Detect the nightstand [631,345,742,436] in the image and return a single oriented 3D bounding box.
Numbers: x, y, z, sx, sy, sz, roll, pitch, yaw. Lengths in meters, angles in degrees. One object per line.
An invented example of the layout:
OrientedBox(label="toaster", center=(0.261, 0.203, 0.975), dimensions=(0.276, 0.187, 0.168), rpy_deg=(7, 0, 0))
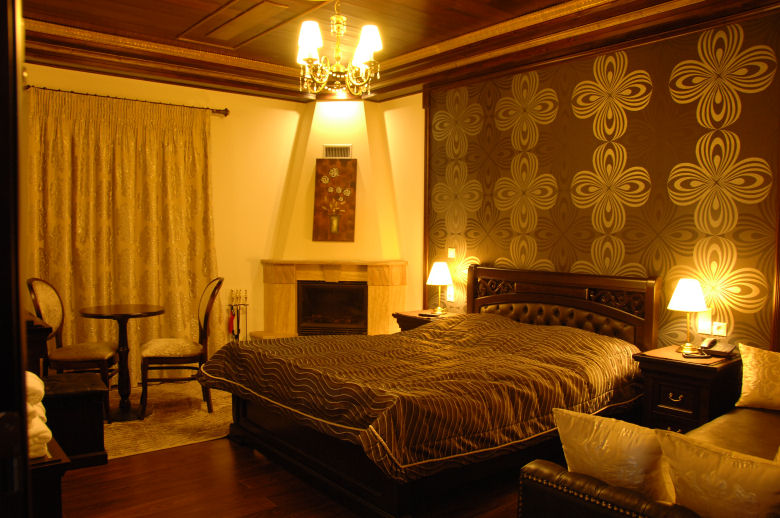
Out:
OrientedBox(label="nightstand", center=(2.368, 0.938, 4.602), dimensions=(0.586, 0.678, 0.656), rpy_deg=(-2, 3, -42))

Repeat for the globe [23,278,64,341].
OrientedBox(label="globe", center=(-2.978, 0.443, 4.980), dimensions=(0.346, 0.559, 0.318), rpy_deg=(7, 5, -43))

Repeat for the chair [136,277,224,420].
OrientedBox(label="chair", center=(-2.135, 0.846, 5.913), dimensions=(0.800, 1.324, 0.745), rpy_deg=(1, -1, -17))

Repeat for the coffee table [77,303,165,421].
OrientedBox(label="coffee table", center=(-2.649, 0.899, 5.728), dimensions=(0.754, 1.171, 0.650), rpy_deg=(4, 5, -23))

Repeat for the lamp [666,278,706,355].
OrientedBox(label="lamp", center=(2.402, 0.401, 4.697), dimensions=(0.306, 0.661, 0.324), rpy_deg=(9, 12, 44))

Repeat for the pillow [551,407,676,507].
OrientedBox(label="pillow", center=(1.025, 0.910, 2.668), dimensions=(0.507, 0.338, 0.077), rpy_deg=(2, 9, 27))

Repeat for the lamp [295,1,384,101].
OrientedBox(label="lamp", center=(-0.446, -1.925, 5.218), dimensions=(0.772, 0.959, 0.710), rpy_deg=(-3, 7, -38))

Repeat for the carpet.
OrientedBox(label="carpet", center=(-2.108, 1.418, 5.272), dimensions=(0.909, 0.372, 0.895), rpy_deg=(-2, 3, -37))
